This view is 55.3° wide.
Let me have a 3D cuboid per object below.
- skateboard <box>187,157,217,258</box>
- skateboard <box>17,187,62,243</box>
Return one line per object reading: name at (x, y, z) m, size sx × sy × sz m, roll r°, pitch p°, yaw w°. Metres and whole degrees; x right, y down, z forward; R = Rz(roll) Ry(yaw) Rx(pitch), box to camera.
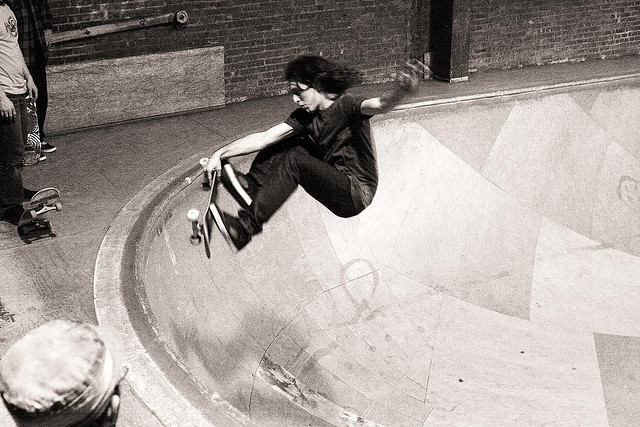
skateboard at (-1.203, 0.023, 6.171) m, size 0.261 × 1.133 × 0.394 m, roll 35°, pitch 66°, yaw 2°
skateboard at (-3.090, -0.016, 6.719) m, size 0.334 × 0.208 × 0.797 m, roll -21°, pitch -9°, yaw -42°
